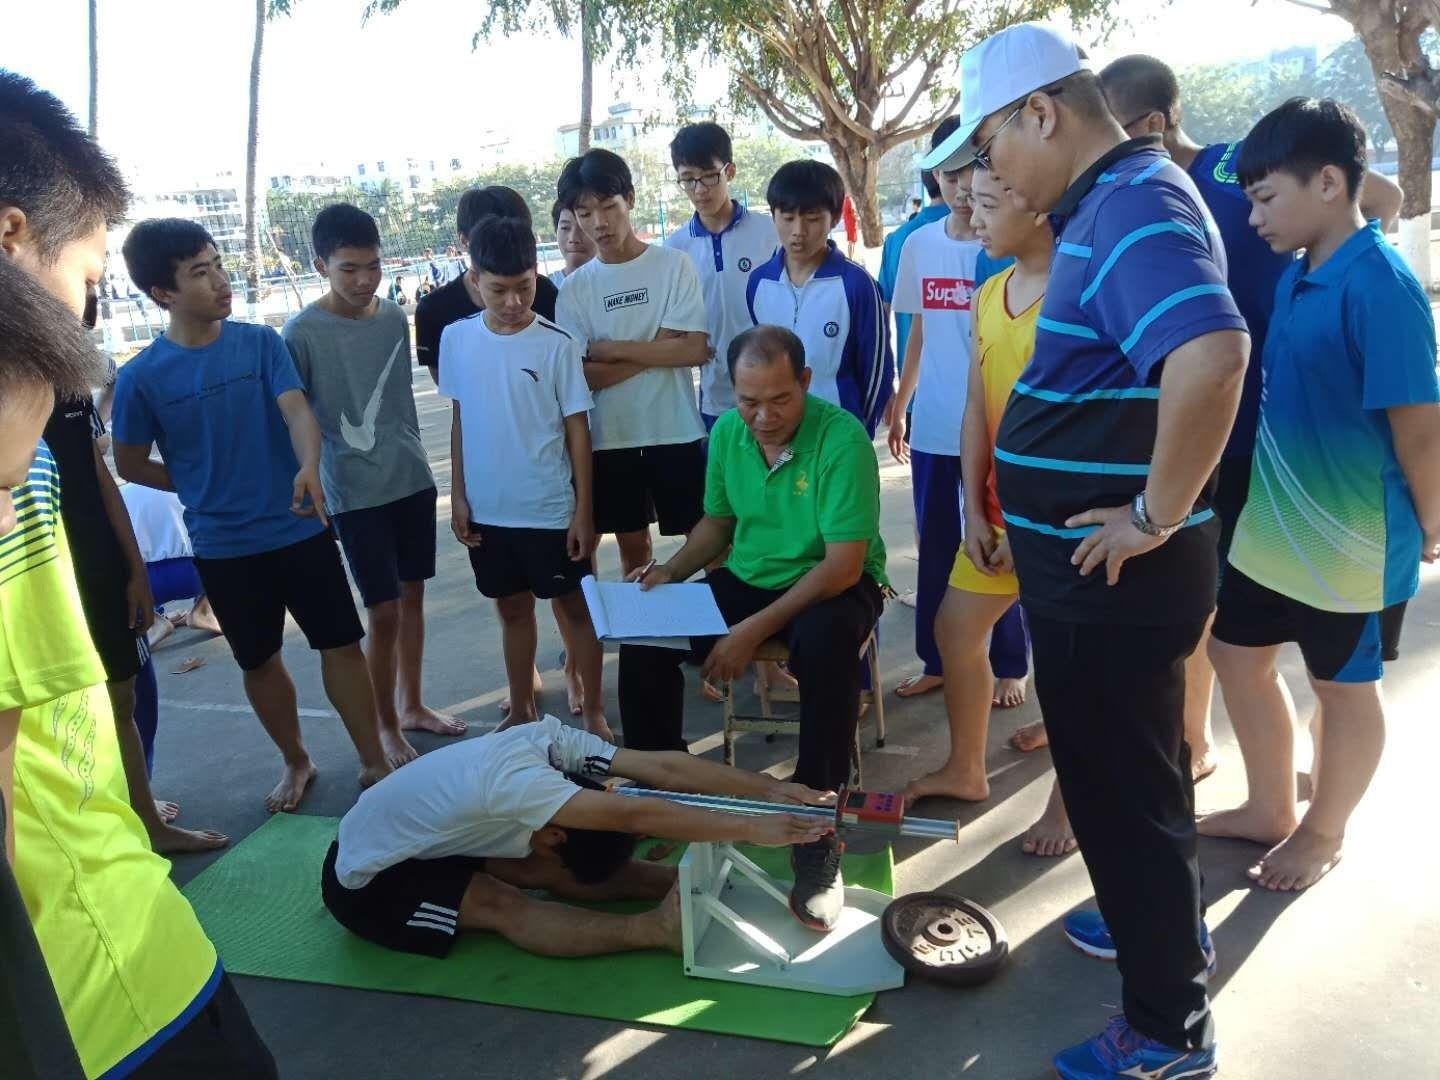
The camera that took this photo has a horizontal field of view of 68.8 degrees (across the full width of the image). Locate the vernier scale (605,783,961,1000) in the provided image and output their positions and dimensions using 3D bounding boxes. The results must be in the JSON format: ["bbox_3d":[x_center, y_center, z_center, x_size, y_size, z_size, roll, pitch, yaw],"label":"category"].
[{"bbox_3d":[0.209,0.957,3.191,0.952,0.465,0.535,2,11,8],"label":"vernier scale"}]

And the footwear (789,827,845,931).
[{"bbox_3d":[0.294,1.049,3.202,0.111,0.351,0.135,-2,-26,-1],"label":"footwear"}]

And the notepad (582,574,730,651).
[{"bbox_3d":[-0.238,0.263,3.648,0.464,0.098,0.392,4,23,-10],"label":"notepad"}]

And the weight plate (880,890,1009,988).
[{"bbox_3d":[0.664,1.193,3.128,0.357,0.081,0.371,-6,16,-25],"label":"weight plate"}]
